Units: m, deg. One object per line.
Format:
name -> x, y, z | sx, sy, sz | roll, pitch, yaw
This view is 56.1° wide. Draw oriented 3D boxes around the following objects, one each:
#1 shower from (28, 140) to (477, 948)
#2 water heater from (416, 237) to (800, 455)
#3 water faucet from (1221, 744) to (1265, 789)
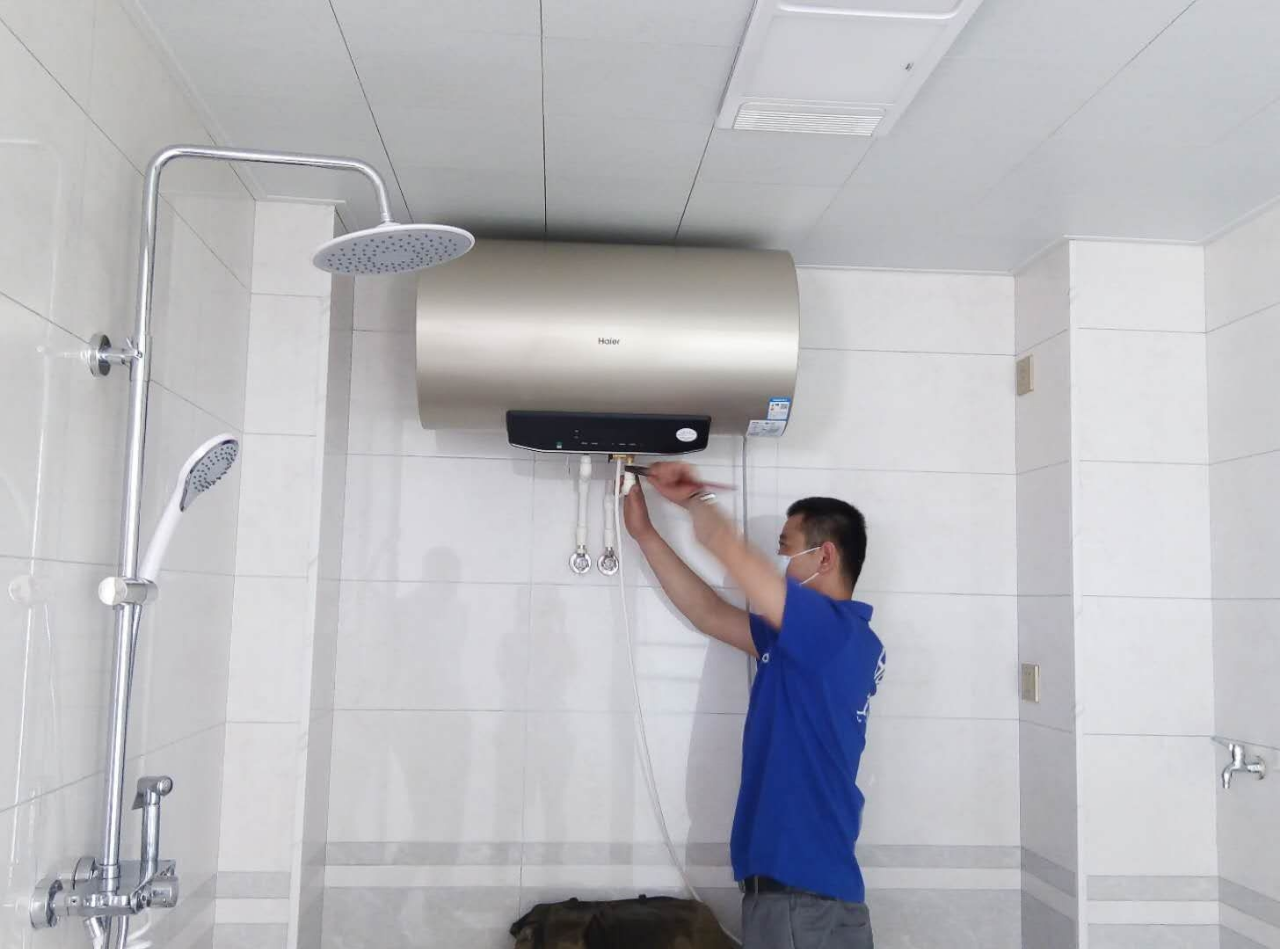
shower -> -0.690, 0.089, 2.132 | 0.642, 1.477, 0.321 | -2, -9, 16
water heater -> -0.059, -0.426, 2.743 | 0.863, 0.523, 0.454 | 2, 30, -3
water faucet -> 1.323, 0.637, 2.640 | 0.103, 0.121, 0.063 | -9, -11, 35
